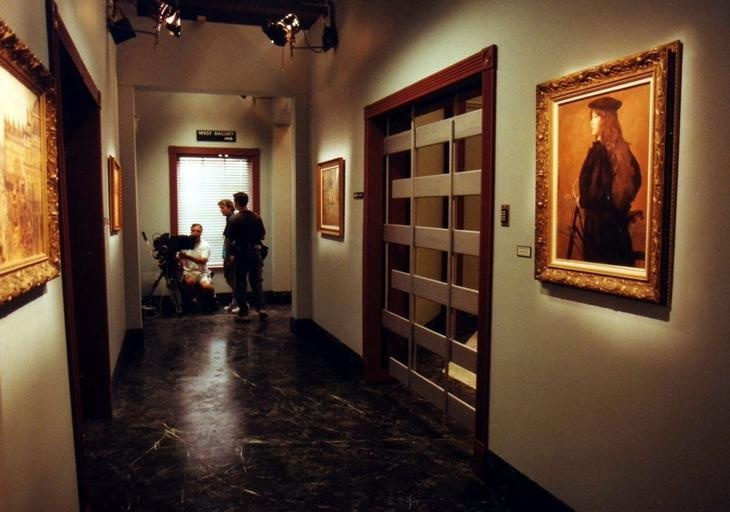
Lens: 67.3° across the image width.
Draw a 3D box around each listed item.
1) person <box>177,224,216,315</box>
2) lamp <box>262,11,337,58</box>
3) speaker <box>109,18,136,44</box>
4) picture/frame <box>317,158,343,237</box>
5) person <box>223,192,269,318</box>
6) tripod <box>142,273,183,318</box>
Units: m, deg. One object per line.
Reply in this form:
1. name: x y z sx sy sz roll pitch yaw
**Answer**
1. person: -2.655 0.180 8.608 0.541 1.373 0.489 -2 7 -19
2. lamp: -0.731 -2.525 6.103 0.721 0.424 0.412 3 23 -3
3. speaker: -2.685 -2.453 6.002 0.326 0.100 0.363 -16 10 19
4. picture/frame: -0.403 -0.689 6.307 0.094 0.895 0.900 0 -2 -19
5. person: -1.740 0.001 7.930 0.561 1.841 0.366 -2 7 -12
6. tripod: -3.139 0.542 8.628 0.699 0.821 0.602 5 8 -22
